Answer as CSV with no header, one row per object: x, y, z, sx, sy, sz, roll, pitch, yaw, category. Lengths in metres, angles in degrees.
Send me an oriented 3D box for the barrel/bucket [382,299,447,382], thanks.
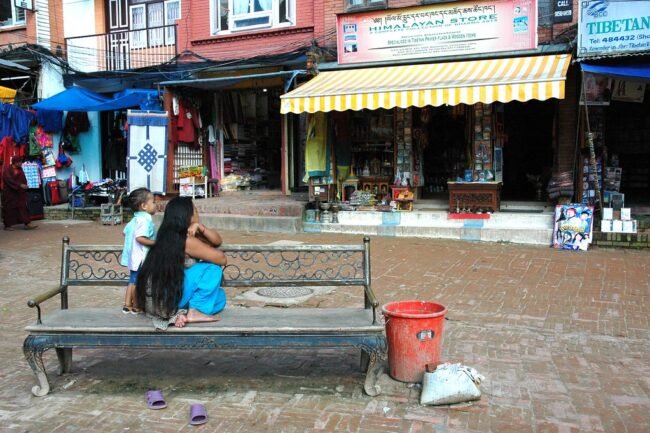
1.026,1.553,7.598,0.952,0.880,0.887,1,2,0,barrel/bucket

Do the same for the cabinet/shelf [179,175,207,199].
-3.976,-0.910,17.797,0.661,0.844,0.900,-6,9,-41,cabinet/shelf

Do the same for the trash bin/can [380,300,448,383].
0.975,1.572,7.587,0.953,0.889,0.894,0,2,-12,trash bin/can

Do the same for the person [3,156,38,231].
-8.322,-0.619,15.721,0.661,1.950,0.338,-5,7,-24,person

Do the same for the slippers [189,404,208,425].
-1.471,2.270,6.785,0.204,0.171,0.222,-3,7,-11,slippers

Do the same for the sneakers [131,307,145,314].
-2.379,1.183,7.449,0.169,0.069,0.071,1,7,-1,sneakers

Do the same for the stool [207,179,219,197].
-3.559,-0.925,18.534,0.540,0.574,0.529,-1,-2,-4,stool

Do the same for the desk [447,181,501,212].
3.685,-0.735,14.461,1.177,0.655,0.767,2,8,14,desk

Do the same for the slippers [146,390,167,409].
-2.027,2.173,7.014,0.205,0.155,0.272,-5,7,-27,slippers

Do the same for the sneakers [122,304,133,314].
-2.529,1.178,7.504,0.115,0.120,0.306,1,-1,-10,sneakers
